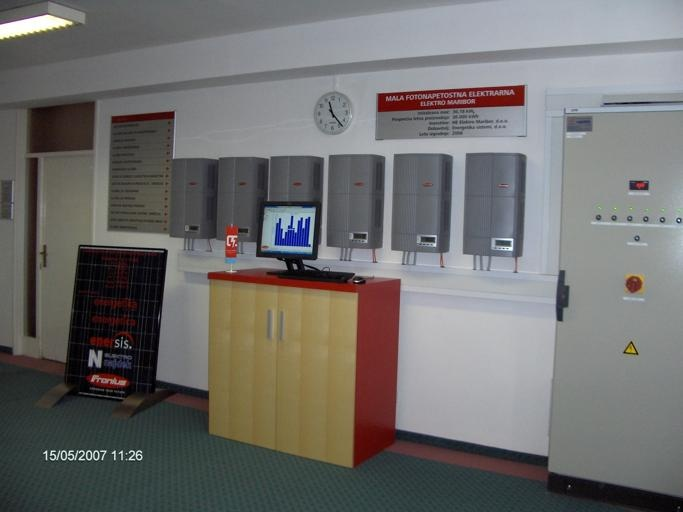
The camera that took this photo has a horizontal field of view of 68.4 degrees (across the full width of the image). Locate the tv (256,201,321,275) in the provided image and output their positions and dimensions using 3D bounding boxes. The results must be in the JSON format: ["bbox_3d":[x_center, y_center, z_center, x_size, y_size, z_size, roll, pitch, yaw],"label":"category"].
[{"bbox_3d":[-0.440,-0.170,4.292,0.562,0.628,0.276,1,-5,28],"label":"tv"}]

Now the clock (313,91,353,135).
[{"bbox_3d":[-0.056,-1.316,4.643,0.360,0.392,0.063,6,8,30],"label":"clock"}]

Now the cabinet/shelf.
[{"bbox_3d":[-0.482,0.682,4.445,1.315,1.325,0.764,4,19,0],"label":"cabinet/shelf"}]

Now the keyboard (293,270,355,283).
[{"bbox_3d":[-0.156,0.161,4.069,0.491,0.059,0.231,5,7,26],"label":"keyboard"}]
